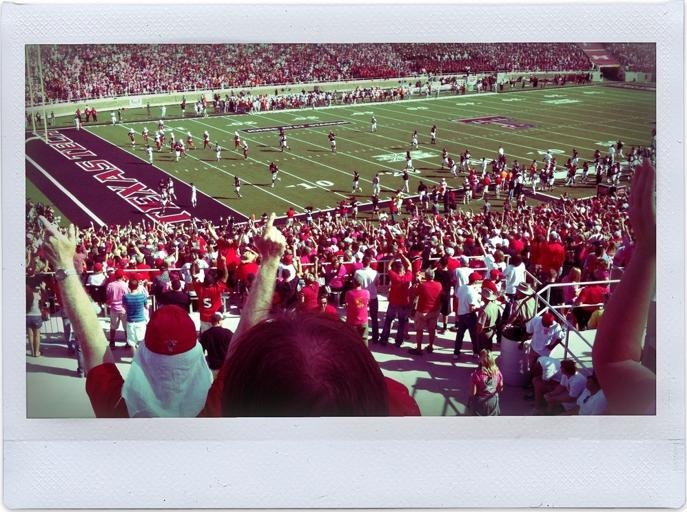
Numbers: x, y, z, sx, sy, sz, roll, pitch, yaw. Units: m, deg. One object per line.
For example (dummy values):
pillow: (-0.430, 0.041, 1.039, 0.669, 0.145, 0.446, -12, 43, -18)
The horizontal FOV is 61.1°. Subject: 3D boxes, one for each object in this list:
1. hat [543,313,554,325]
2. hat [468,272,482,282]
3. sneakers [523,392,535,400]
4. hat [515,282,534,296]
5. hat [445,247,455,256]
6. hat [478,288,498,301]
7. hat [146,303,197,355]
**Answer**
hat: (2.334, 0.711, 6.595, 0.099, 0.145, 0.141, 2, 0, 7)
hat: (1.794, 0.287, 7.888, 0.118, 0.106, 0.187, -42, 18, -28)
sneakers: (2.167, 1.636, 6.759, 0.111, 0.047, 0.105, 4, 10, 15)
hat: (2.341, 0.425, 7.499, 0.251, 0.082, 0.271, 1, 19, -8)
hat: (1.619, -0.067, 8.821, 0.144, 0.086, 0.143, 1, 2, 25)
hat: (1.953, 0.515, 7.773, 0.153, 0.063, 0.173, 8, 30, -42)
hat: (-1.290, 0.567, 4.330, 0.300, 0.242, 0.412, -4, 31, -15)
